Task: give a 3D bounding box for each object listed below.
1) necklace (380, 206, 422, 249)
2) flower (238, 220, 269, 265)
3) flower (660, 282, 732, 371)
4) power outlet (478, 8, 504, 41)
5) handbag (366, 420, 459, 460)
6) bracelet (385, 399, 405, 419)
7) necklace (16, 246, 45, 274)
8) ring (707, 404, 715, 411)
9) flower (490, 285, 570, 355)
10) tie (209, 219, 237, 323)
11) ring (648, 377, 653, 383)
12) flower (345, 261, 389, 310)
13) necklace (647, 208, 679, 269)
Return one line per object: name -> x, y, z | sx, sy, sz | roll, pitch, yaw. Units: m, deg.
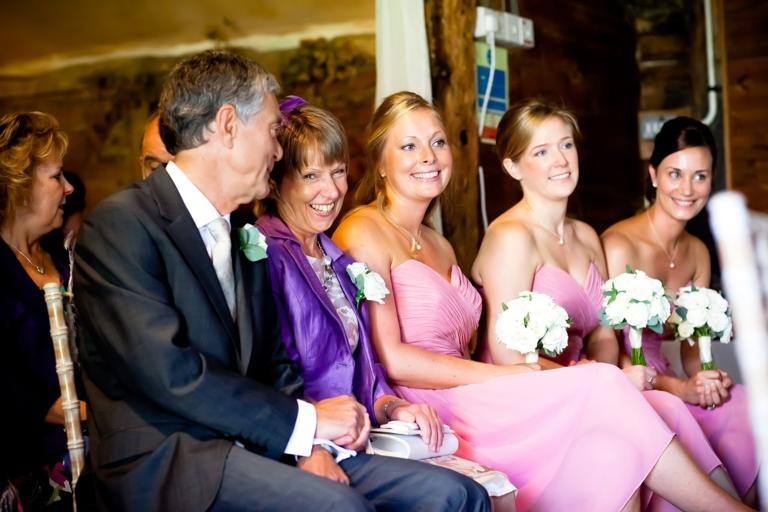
necklace -> 0.116, -0.131, 3.587 | 0.050, 0.202, 0.207 | -32, -16, 4
flower -> -0.556, -0.054, 2.781 | 0.043, 0.142, 0.143 | -23, 32, 40
flower -> 1.686, 0.413, 3.519 | 0.320, 0.396, 0.345 | -2, -9, -18
power outlet -> 0.695, -1.509, 4.291 | 0.119, 0.229, 0.236 | 0, 1, 31
handbag -> 0.122, 0.807, 2.893 | 0.256, 0.090, 0.210 | 3, -3, -39
bracelet -> 0.043, 0.687, 2.986 | 0.084, 0.085, 0.065 | 26, -8, -5
necklace -> -1.837, 0.022, 3.392 | 0.017, 0.167, 0.031 | -42, 6, 19
ring -> 1.694, 0.780, 3.384 | 0.025, 0.032, 0.011 | 31, 30, 5
flower -> 0.732, 0.331, 3.320 | 0.318, 0.324, 0.322 | -14, 4, 11
tie -> -0.654, 0.044, 2.739 | 0.092, 0.454, 0.095 | -7, 0, -22
ring -> 1.328, 0.615, 3.264 | 0.027, 0.028, 0.011 | 6, 8, -43
flower -> -0.090, 0.124, 3.175 | 0.120, 0.208, 0.194 | -33, 15, 3
necklace -> 1.705, -0.111, 3.993 | 0.158, 0.331, 0.056 | -13, -2, -22
